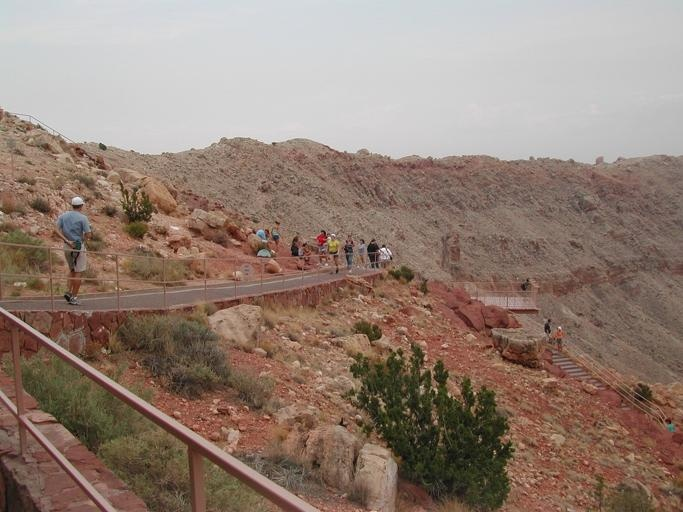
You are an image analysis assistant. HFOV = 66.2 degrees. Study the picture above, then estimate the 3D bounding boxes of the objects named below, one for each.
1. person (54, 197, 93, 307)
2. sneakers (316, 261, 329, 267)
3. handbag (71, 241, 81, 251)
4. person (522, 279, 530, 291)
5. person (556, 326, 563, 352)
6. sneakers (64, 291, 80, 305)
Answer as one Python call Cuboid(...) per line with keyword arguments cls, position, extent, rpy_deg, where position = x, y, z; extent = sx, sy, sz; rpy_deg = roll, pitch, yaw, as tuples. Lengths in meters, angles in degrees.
Cuboid(cls="person", position=(-6.500, -0.167, 12.650), extent=(0.730, 2.651, 1.388), rpy_deg=(-2, 0, -27))
Cuboid(cls="sneakers", position=(-0.948, 0.430, 27.575), extent=(0.206, 0.258, 0.624), rpy_deg=(-1, -4, -18))
Cuboid(cls="handbag", position=(-6.324, -0.256, 12.476), extent=(0.191, 0.273, 0.260), rpy_deg=(0, -1, -11))
Cuboid(cls="person", position=(13.577, 2.149, 38.557), extent=(0.400, 0.503, 1.078), rpy_deg=(-14, -12, 6))
Cuboid(cls="person", position=(12.367, 4.675, 29.703), extent=(0.389, 1.377, 1.726), rpy_deg=(-1, 0, 22))
Cuboid(cls="sneakers", position=(-6.266, 0.974, 12.140), extent=(0.279, 0.289, 0.273), rpy_deg=(-1, 0, -31))
